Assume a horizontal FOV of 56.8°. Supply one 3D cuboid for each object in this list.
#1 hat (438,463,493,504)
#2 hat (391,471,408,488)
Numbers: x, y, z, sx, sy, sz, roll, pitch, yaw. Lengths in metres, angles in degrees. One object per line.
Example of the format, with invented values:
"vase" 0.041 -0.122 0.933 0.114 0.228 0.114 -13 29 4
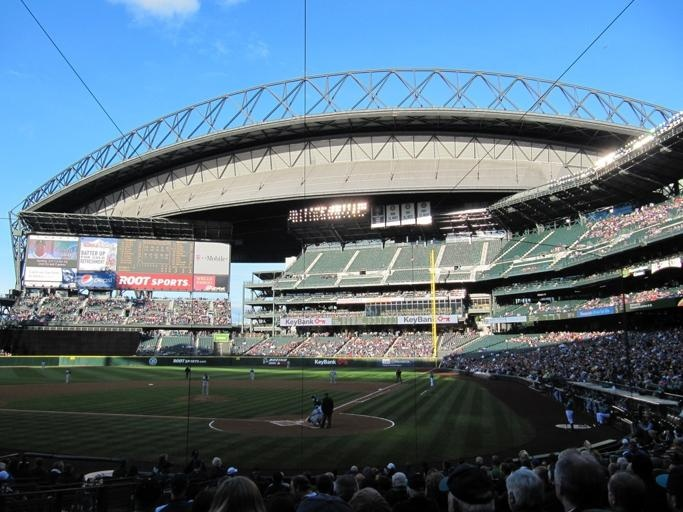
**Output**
"hat" 2.608 4.642 13.112 0.768 0.287 0.898 -1 16 -2
"hat" 1.451 5.706 15.858 0.463 0.425 0.500 2 -4 4
